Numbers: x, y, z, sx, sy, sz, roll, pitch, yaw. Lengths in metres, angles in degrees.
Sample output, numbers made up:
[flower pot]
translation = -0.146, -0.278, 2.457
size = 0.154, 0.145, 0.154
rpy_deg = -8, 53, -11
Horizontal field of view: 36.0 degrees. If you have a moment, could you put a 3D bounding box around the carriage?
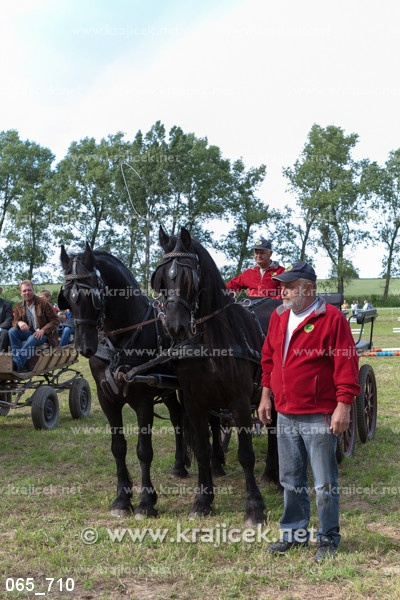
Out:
[carriage]
translation = 0.038, 0.610, 5.928
size = 1.084, 2.125, 3.692
rpy_deg = -7, -12, 30

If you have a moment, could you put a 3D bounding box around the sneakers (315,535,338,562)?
[sneakers]
translation = 0.800, 1.570, 3.893
size = 0.077, 0.091, 0.224
rpy_deg = -7, -4, 29

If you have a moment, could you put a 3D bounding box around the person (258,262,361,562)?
[person]
translation = 0.706, 0.704, 3.904
size = 0.596, 1.760, 0.400
rpy_deg = 1, 0, 24

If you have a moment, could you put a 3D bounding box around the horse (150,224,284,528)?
[horse]
translation = 0.046, 0.685, 5.241
size = 0.694, 1.922, 2.581
rpy_deg = -4, -9, 9

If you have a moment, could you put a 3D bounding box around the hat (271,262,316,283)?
[hat]
translation = 0.604, -0.180, 3.915
size = 0.222, 0.097, 0.133
rpy_deg = -1, -1, -17
